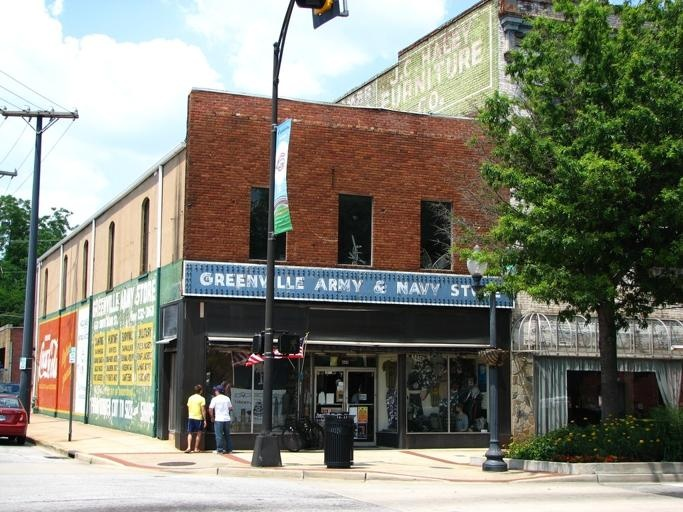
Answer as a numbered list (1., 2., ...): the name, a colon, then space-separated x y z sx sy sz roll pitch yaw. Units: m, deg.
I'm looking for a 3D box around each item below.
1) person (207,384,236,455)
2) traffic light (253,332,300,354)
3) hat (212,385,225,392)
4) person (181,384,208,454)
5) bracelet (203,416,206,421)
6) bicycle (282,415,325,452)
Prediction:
1. person: -3.707 4.980 25.692 0.675 2.120 1.544 1 -16 -8
2. traffic light: -1.752 2.335 22.555 1.186 0.674 0.595 -5 -16 14
3. hat: -3.773 4.028 25.560 0.223 0.179 0.298 1 19 -26
4. person: -4.518 5.011 25.945 0.591 2.068 1.184 2 -16 -10
5. bracelet: -4.238 5.000 25.770 0.093 0.157 0.093 1 0 7
6. bicycle: -1.265 5.736 26.930 1.339 1.078 0.438 0 -15 -5
